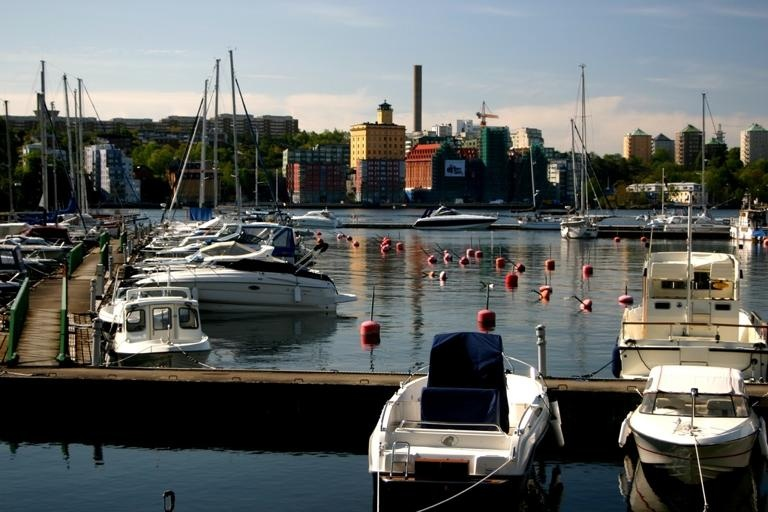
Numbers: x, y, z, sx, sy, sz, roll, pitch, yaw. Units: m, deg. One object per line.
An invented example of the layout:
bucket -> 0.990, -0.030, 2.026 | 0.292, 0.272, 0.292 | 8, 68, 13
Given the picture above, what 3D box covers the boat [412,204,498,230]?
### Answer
boat -> 6.007, -3.574, 115.332 | 6.104, 1.991, 10.880 | -2, 3, -10
